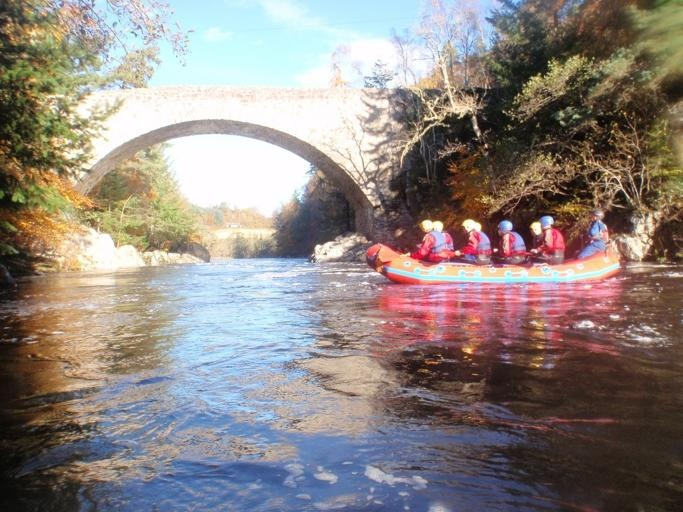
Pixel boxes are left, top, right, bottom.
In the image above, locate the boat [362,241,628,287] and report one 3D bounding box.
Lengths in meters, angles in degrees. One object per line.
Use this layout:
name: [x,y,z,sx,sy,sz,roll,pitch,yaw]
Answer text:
boat: [3.902,0.384,12.488,5.099,0.674,2.085,-1,-2,2]
